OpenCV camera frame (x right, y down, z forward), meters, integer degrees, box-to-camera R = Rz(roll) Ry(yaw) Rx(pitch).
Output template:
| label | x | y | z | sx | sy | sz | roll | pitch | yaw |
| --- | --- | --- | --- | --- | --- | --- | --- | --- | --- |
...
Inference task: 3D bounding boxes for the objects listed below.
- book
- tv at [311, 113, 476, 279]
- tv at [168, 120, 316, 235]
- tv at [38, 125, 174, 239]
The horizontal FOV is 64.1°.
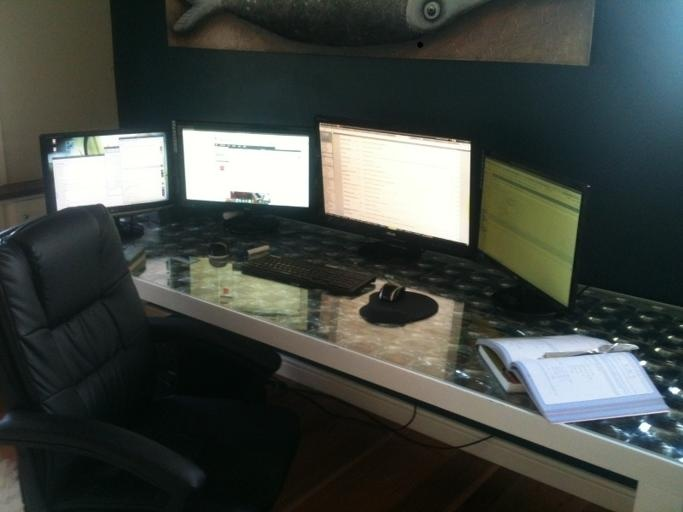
| label | x | y | z | sx | sy | sz | roll | pitch | yaw |
| --- | --- | --- | --- | --- | --- | --- | --- | --- | --- |
| book | 0.654 | 0.342 | 1.513 | 0.232 | 0.071 | 0.313 | -5 | 20 | -13 |
| tv | 0.215 | -0.276 | 2.272 | 0.819 | 0.543 | 0.200 | 17 | 28 | 40 |
| tv | -0.427 | -0.378 | 2.552 | 0.739 | 0.483 | 0.208 | 8 | 22 | 24 |
| tv | -1.047 | -0.336 | 2.526 | 0.661 | 0.504 | 0.163 | -3 | 10 | 11 |
